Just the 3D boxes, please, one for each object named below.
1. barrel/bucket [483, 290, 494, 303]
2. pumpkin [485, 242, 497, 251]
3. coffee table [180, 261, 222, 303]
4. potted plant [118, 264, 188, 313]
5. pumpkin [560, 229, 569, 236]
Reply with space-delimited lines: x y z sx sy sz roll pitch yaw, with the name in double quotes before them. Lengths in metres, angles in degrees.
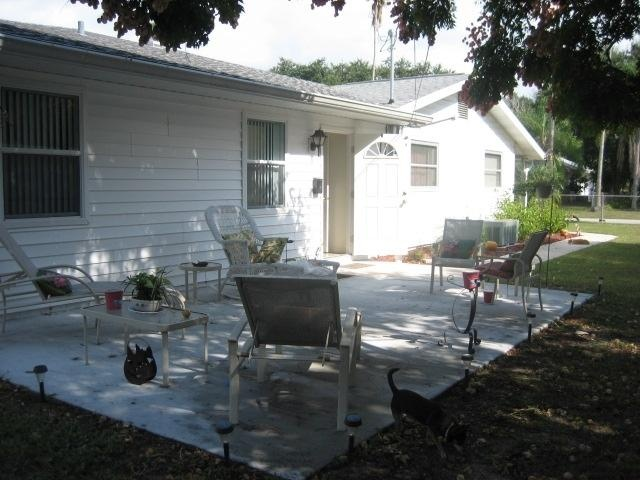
"barrel/bucket" 2.401 0.816 7.237 0.138 0.155 0.142 1 4 0
"pumpkin" 4.201 0.171 12.373 0.149 0.170 0.158 -10 17 -8
"coffee table" -1.711 0.577 7.233 0.582 0.498 0.613 3 6 25
"potted plant" -1.546 0.547 4.830 0.406 0.327 0.496 7 -3 17
"pumpkin" 7.901 -0.218 16.274 0.217 0.281 0.211 -3 6 -7
